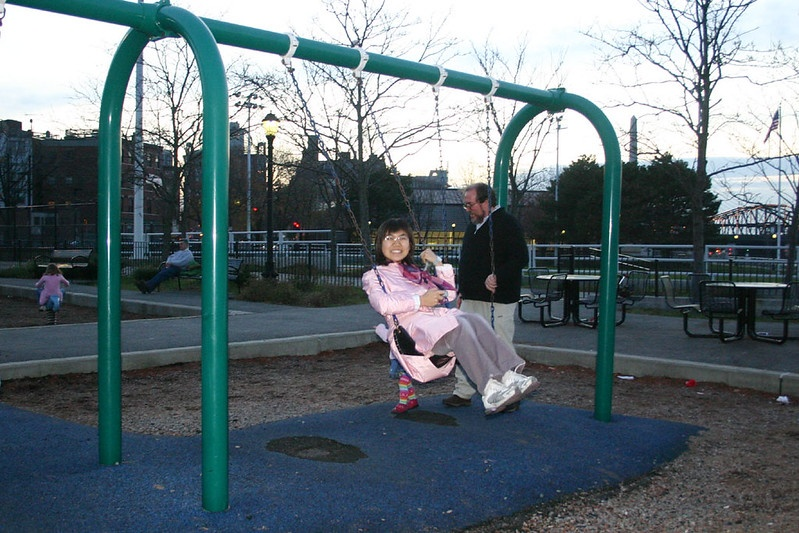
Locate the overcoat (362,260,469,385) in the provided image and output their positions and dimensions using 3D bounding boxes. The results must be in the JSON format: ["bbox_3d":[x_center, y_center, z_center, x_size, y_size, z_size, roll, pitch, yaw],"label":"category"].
[{"bbox_3d":[0.201,0.500,6.633,1.001,1.219,0.692,-6,-12,-37],"label":"overcoat"}]

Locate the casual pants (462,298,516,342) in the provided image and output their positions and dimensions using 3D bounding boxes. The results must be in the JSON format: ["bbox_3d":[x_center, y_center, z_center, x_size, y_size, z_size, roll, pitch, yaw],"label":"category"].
[{"bbox_3d":[0.910,0.535,6.794,0.465,0.467,0.273,1,-2,43],"label":"casual pants"}]

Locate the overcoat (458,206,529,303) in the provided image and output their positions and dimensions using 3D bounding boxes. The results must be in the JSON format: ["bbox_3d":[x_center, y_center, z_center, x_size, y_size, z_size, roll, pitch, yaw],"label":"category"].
[{"bbox_3d":[1.034,-0.140,7.491,0.698,1.082,1.187,-4,-1,-22],"label":"overcoat"}]

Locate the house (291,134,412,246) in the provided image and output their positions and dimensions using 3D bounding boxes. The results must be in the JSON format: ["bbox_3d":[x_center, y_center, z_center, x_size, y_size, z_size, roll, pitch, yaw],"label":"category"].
[{"bbox_3d":[-3.796,-6.626,48.730,7.590,4.164,5.307,-4,-6,-18],"label":"house"}]

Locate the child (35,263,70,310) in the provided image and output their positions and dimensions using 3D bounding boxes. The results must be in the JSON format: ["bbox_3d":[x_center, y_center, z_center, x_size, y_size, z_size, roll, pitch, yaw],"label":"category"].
[{"bbox_3d":[-7.569,0.449,14.495,0.712,1.019,0.602,5,0,-23],"label":"child"}]

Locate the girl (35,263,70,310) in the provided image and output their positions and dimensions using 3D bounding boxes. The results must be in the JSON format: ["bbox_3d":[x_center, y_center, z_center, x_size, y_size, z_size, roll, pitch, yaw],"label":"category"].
[{"bbox_3d":[-7.565,0.440,14.477,0.627,1.039,0.613,5,0,11],"label":"girl"}]

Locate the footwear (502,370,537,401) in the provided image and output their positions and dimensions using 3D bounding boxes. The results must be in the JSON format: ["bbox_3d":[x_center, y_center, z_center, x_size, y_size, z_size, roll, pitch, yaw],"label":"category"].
[{"bbox_3d":[1.069,1.108,6.350,0.422,0.196,0.165,-17,-1,41],"label":"footwear"}]
